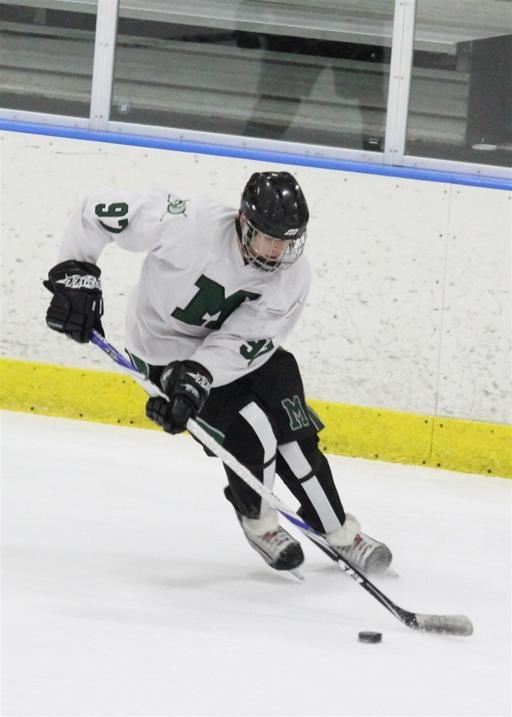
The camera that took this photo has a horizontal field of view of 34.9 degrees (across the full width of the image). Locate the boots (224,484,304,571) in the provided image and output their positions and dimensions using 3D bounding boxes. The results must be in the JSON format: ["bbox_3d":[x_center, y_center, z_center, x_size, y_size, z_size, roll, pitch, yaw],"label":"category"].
[{"bbox_3d":[-0.008,0.474,2.466,0.359,0.116,0.145,50,-4,22],"label":"boots"}]

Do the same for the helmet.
[{"bbox_3d":[0.048,-0.376,2.206,0.178,0.272,0.169,8,9,-11],"label":"helmet"}]

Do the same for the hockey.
[{"bbox_3d":[0.128,0.420,2.705,1.390,0.122,0.153,33,-22,18],"label":"hockey"}]

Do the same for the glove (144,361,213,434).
[{"bbox_3d":[-0.198,0.102,2.264,0.172,0.209,0.108,28,3,19],"label":"glove"}]

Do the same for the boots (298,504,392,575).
[{"bbox_3d":[0.266,0.566,2.564,0.297,0.094,0.131,35,3,12],"label":"boots"}]
